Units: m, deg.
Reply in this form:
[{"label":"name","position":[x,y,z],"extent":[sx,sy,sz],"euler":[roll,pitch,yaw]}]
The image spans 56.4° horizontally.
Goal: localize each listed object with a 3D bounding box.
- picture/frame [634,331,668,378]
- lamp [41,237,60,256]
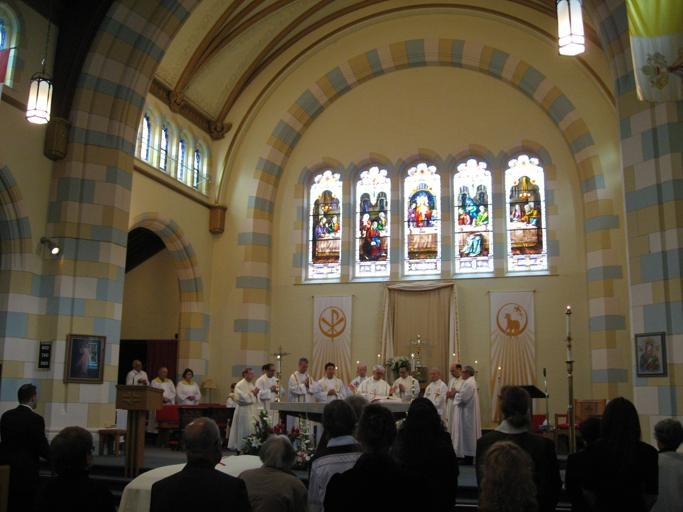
[{"label":"picture/frame","position":[4.346,1.382,8.897],"extent":[0.073,0.766,0.525],"euler":[15,-17,-26]},{"label":"lamp","position":[-5.091,-0.170,11.130],"extent":[0.394,0.327,0.161],"euler":[-1,-14,-1]}]
